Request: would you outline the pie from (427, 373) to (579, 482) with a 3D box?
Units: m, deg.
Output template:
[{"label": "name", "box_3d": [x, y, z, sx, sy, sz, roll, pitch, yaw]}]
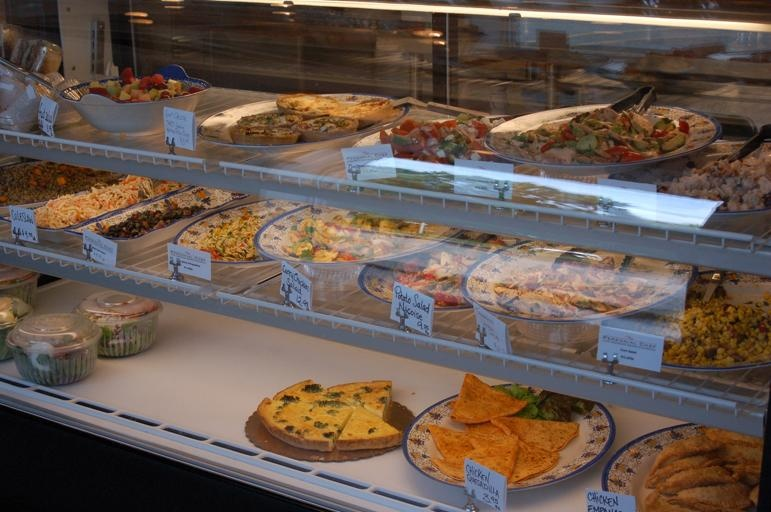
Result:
[{"label": "pie", "box_3d": [0.351, 0.551, 1.964, 0.379, 0.204, 0.452, -10, 18, -24]}]

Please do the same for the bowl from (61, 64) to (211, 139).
[{"label": "bowl", "box_3d": [-0.839, -0.491, 2.086, 0.416, 0.107, 0.336, 2, 18, 9]}]
